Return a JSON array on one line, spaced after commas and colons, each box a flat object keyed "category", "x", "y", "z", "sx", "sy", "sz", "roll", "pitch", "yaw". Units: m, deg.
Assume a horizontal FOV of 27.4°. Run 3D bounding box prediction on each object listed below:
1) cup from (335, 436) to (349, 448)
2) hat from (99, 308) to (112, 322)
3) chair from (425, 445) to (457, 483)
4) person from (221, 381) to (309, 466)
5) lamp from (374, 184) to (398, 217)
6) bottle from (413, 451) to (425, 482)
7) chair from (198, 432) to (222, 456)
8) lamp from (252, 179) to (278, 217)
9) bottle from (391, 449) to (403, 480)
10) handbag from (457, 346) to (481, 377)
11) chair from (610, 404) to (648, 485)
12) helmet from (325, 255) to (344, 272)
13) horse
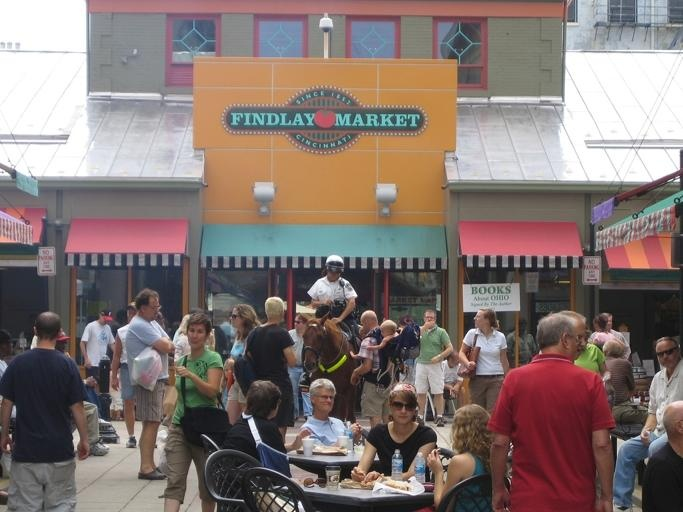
[{"category": "cup", "x": 0.029, "y": 2.962, "z": 22.157, "sx": 0.194, "sy": 0.182, "sz": 0.119, "roll": -3, "pitch": -11, "yaw": 11}, {"category": "hat", "x": -4.946, "y": 1.275, "z": 29.461, "sx": 0.224, "sy": 0.282, "sz": 0.371, "roll": 1, "pitch": -11, "yaw": -10}, {"category": "chair", "x": 1.569, "y": 3.241, "z": 22.173, "sx": 0.407, "sy": 0.618, "sz": 0.529, "roll": -2, "pitch": 3, "yaw": -25}, {"category": "person", "x": -1.167, "y": 2.529, "z": 21.471, "sx": 1.164, "sy": 1.545, "sz": 1.003, "roll": 3, "pitch": 4, "yaw": 19}, {"category": "lamp", "x": 1.030, "y": -1.265, "z": 31.601, "sx": 0.465, "sy": 0.768, "sz": 0.445, "roll": -2, "pitch": -11, "yaw": 3}, {"category": "bottle", "x": 1.225, "y": 3.224, "z": 21.212, "sx": 0.198, "sy": 0.462, "sz": 0.103, "roll": 8, "pitch": -14, "yaw": -40}, {"category": "chair", "x": -2.039, "y": 2.938, "z": 21.796, "sx": 0.338, "sy": 0.323, "sz": 0.273, "roll": 0, "pitch": 4, "yaw": -11}, {"category": "lamp", "x": -1.721, "y": -1.300, "z": 31.547, "sx": 0.471, "sy": 0.783, "sz": 0.465, "roll": -1, "pitch": -11, "yaw": 2}, {"category": "bottle", "x": 0.852, "y": 3.175, "z": 21.240, "sx": 0.177, "sy": 0.474, "sz": 0.286, "roll": -1, "pitch": -11, "yaw": 2}, {"category": "handbag", "x": 2.399, "y": 1.994, "z": 26.124, "sx": 0.395, "sy": 0.539, "sz": 0.335, "roll": -3, "pitch": -11, "yaw": 11}, {"category": "chair", "x": 5.115, "y": 3.262, "z": 24.239, "sx": 0.966, "sy": 1.463, "sz": 1.161, "roll": -1, "pitch": -1, "yaw": 6}, {"category": "helmet", "x": -0.115, "y": 0.176, "z": 26.491, "sx": 0.260, "sy": 0.290, "sz": 0.351, "roll": 3, "pitch": -11, "yaw": -6}, {"category": "horse", "x": -0.221, "y": 2.077, "z": 25.492, "sx": 0.591, "sy": 1.840, "sz": 1.437, "roll": -6, "pitch": -12, "yaw": 28}]
